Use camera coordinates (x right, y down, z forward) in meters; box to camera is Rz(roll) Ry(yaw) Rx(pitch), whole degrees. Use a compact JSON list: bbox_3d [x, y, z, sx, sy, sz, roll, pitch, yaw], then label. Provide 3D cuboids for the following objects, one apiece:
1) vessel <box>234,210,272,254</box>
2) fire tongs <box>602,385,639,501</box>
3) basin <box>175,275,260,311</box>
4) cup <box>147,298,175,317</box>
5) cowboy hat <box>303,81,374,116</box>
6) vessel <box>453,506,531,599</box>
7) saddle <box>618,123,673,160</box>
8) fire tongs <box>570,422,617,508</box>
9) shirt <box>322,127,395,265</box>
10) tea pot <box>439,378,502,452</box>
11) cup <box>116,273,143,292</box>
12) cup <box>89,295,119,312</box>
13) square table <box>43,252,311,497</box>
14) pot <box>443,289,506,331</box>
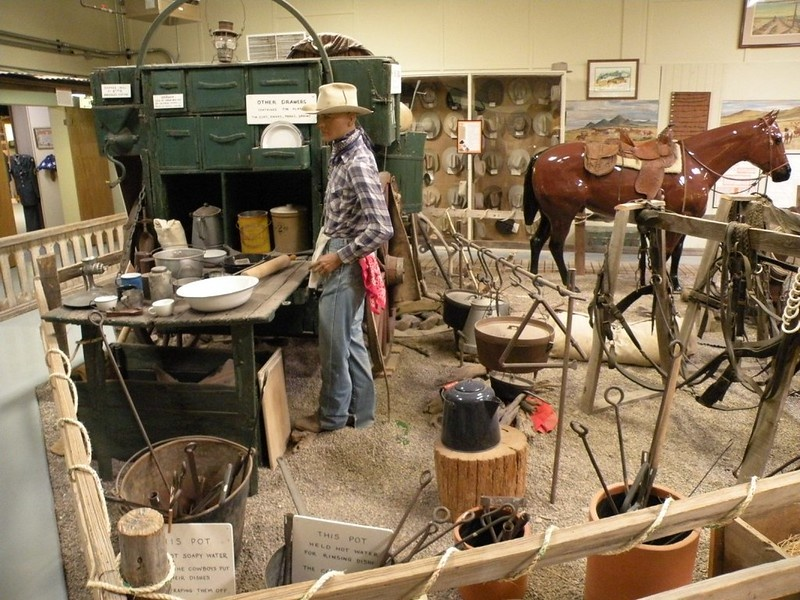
[{"bbox_3d":[-1.269,-0.608,5.593,0.364,0.395,0.355,-1,5,0],"label":"vessel"},{"bbox_3d":[1.482,0.975,4.118,0.135,0.740,0.030,-8,-5,12],"label":"fire tongs"},{"bbox_3d":[-1.231,-0.043,4.154,0.520,0.150,0.534,-2,16,1],"label":"basin"},{"bbox_3d":[-1.562,0.045,4.014,0.139,0.093,0.226,-13,19,-34],"label":"cup"},{"bbox_3d":[-0.467,-1.373,4.357,0.368,0.176,0.435,-4,15,-16],"label":"cowboy hat"},{"bbox_3d":[0.467,1.308,3.148,0.387,0.686,0.388,2,16,12],"label":"vessel"},{"bbox_3d":[2.822,-1.770,7.139,0.585,0.354,0.460,0,24,10],"label":"saddle"},{"bbox_3d":[1.260,1.094,4.006,0.125,0.685,0.089,-22,-3,36],"label":"fire tongs"},{"bbox_3d":[-0.359,-0.771,4.540,0.377,1.054,1.163,-3,23,-16],"label":"shirt"},{"bbox_3d":[0.455,0.716,3.909,0.401,0.367,0.321,3,12,30],"label":"tea pot"},{"bbox_3d":[-1.869,-0.127,4.266,0.146,0.168,0.147,7,17,-2],"label":"cup"},{"bbox_3d":[-1.937,0.022,4.017,0.113,0.072,0.121,0,8,0],"label":"cup"},{"bbox_3d":[-1.643,0.532,4.576,1.693,1.200,1.500,2,15,6],"label":"square table"},{"bbox_3d":[0.563,0.097,5.752,0.302,0.262,0.357,4,12,-1],"label":"pot"}]
